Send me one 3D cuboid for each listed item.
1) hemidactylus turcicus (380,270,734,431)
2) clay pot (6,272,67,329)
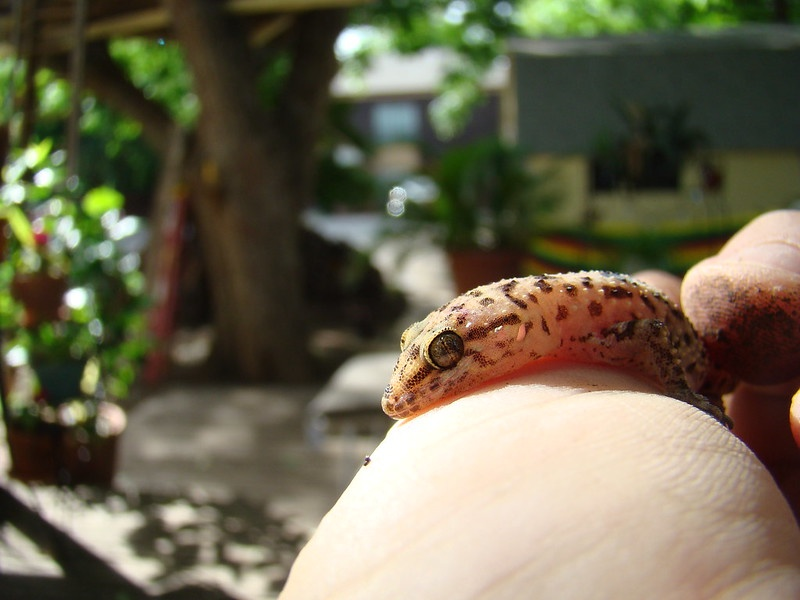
[{"bbox_3d":[0.307,0.097,1.575,0.674,0.270,0.201,-1,28,1],"label":"hemidactylus turcicus"},{"bbox_3d":[-0.902,-0.002,2.148,0.124,0.133,0.058,-5,28,-6],"label":"clay pot"}]
